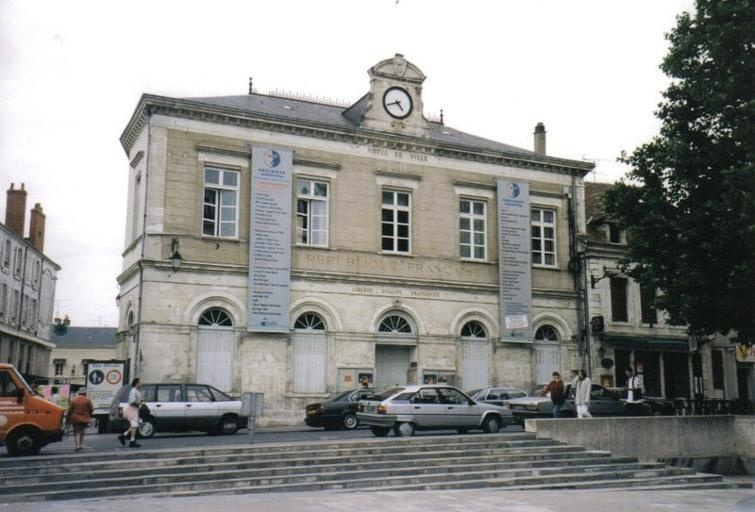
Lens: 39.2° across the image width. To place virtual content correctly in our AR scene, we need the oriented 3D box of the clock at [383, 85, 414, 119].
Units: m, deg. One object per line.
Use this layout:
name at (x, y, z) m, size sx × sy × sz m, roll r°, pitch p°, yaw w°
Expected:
clock at (0.932, -7.594, 52.028) m, size 1.735 × 1.622 × 0.193 m, roll 4°, pitch -11°, yaw -34°

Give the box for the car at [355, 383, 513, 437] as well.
car at (2.256, 6.032, 41.493) m, size 5.875 × 1.944 × 2.190 m, roll 1°, pitch -6°, yaw -20°

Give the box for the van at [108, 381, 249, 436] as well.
van at (-8.428, 6.392, 44.752) m, size 5.432 × 2.163 × 3.016 m, roll 2°, pitch -9°, yaw -17°

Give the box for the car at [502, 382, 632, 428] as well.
car at (8.107, 6.374, 45.420) m, size 4.359 × 1.349 × 2.149 m, roll 1°, pitch -9°, yaw -21°

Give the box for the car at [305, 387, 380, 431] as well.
car at (-1.409, 6.551, 45.190) m, size 3.188 × 0.969 × 1.416 m, roll 1°, pitch -6°, yaw -24°
